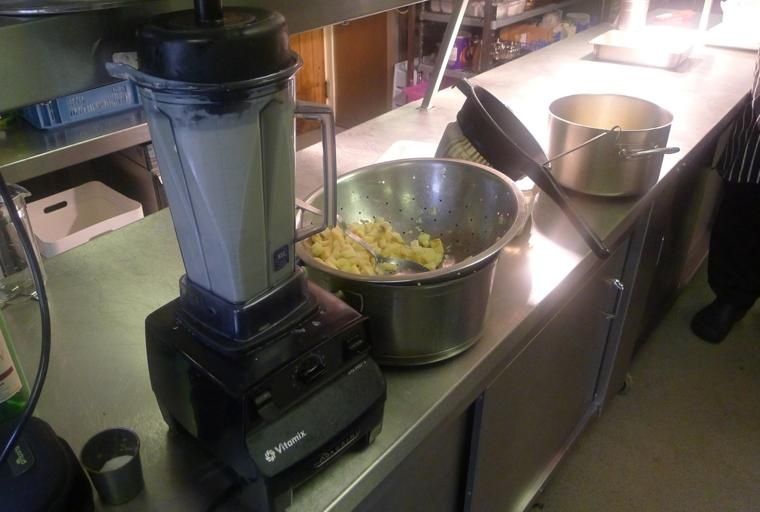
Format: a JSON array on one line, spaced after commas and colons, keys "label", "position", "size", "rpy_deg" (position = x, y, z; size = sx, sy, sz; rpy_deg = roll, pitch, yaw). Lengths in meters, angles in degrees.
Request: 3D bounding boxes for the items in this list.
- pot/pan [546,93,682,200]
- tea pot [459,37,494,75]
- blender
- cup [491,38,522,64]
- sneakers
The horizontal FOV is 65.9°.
[{"label": "pot/pan", "position": [0.582, -0.314, 1.523], "size": [0.299, 0.200, 0.378], "rpy_deg": [11, 40, 14]}, {"label": "tea pot", "position": [0.683, -1.407, 4.126], "size": [0.237, 0.251, 0.242], "rpy_deg": [-2, 39, 2]}, {"label": "blender", "position": [-0.170, 0.005, 0.850], "size": [0.355, 0.659, 0.328], "rpy_deg": [-31, 47, -33]}, {"label": "cup", "position": [0.895, -1.460, 4.159], "size": [0.144, 0.080, 0.219], "rpy_deg": [5, 32, 10]}, {"label": "sneakers", "position": [1.406, 0.257, 2.487], "size": [0.281, 0.293, 0.140], "rpy_deg": [-36, 67, 6]}]
